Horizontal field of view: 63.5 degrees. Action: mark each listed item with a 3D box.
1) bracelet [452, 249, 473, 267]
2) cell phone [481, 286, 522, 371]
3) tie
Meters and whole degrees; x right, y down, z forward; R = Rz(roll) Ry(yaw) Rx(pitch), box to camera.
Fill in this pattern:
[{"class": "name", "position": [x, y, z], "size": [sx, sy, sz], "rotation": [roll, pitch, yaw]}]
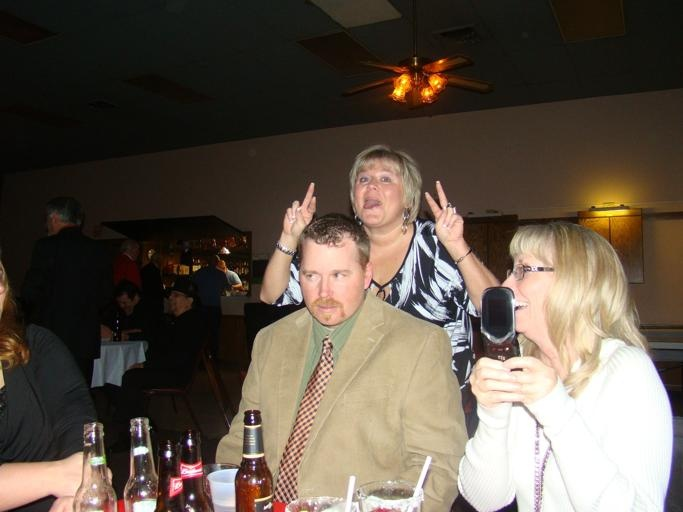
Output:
[{"class": "bracelet", "position": [0.555, -0.001, 2.519], "size": [0.071, 0.020, 0.061], "rotation": [-41, -7, 10]}, {"class": "cell phone", "position": [0.428, 0.182, 1.501], "size": [0.091, 0.200, 0.166], "rotation": [-3, -6, 17]}, {"class": "tie", "position": [-0.101, 0.541, 1.870], "size": [0.241, 0.523, 0.112], "rotation": [3, -7, -41]}]
